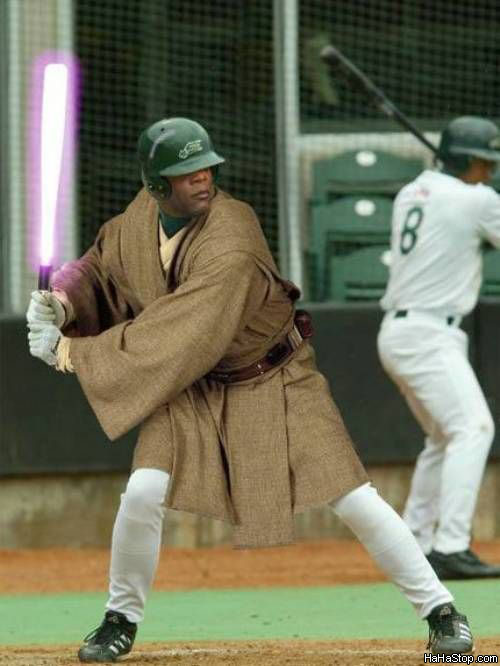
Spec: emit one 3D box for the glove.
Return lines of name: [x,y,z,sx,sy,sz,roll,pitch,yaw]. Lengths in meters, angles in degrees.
glove: [-0.681,-0.017,3.863,0.125,0.213,0.267,6,47,-31]

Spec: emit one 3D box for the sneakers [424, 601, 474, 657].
sneakers: [0.652,0.969,3.757,0.144,0.121,0.158,-2,1,7]

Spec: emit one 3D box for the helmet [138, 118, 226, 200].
helmet: [-0.229,-0.593,3.879,0.237,0.209,0.315,-25,31,-38]

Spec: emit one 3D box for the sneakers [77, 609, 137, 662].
sneakers: [-0.460,1.008,3.873,0.101,0.108,0.253,32,12,10]
